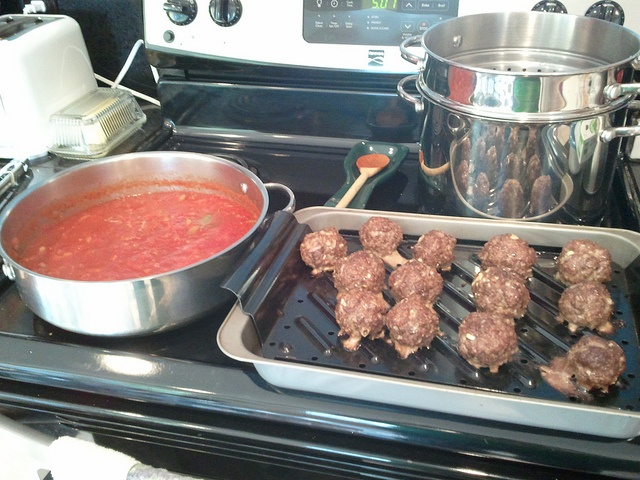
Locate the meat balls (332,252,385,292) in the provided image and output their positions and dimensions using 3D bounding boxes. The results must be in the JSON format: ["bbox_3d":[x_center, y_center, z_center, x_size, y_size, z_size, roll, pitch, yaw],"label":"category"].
[{"bbox_3d":[0.065,0.054,0.903,0.098,0.059,0.110,-1,22,-3],"label":"meat balls"}]

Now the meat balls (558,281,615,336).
[{"bbox_3d":[0.400,0.102,0.793,0.068,0.026,0.079,7,62,14],"label":"meat balls"}]

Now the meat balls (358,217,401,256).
[{"bbox_3d":[0.104,-0.010,0.980,0.069,0.060,0.079,19,17,38],"label":"meat balls"}]

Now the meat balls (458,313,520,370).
[{"bbox_3d":[0.240,0.147,0.768,0.072,0.059,0.075,-2,34,2],"label":"meat balls"}]

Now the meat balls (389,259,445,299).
[{"bbox_3d":[0.151,0.065,0.835,0.068,0.037,0.064,-1,28,1],"label":"meat balls"}]

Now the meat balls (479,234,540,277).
[{"bbox_3d":[0.314,0.025,0.869,0.078,0.045,0.073,-5,51,6],"label":"meat balls"}]

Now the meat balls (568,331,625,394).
[{"bbox_3d":[0.386,0.171,0.741,0.070,0.054,0.070,-2,34,2],"label":"meat balls"}]

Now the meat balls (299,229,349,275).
[{"bbox_3d":[0.005,0.018,0.952,0.099,0.075,0.074,-11,31,-27],"label":"meat balls"}]

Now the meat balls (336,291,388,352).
[{"bbox_3d":[0.060,0.114,0.845,0.107,0.074,0.111,0,22,0],"label":"meat balls"}]

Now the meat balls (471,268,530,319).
[{"bbox_3d":[0.277,0.085,0.817,0.081,0.051,0.090,-5,22,-36],"label":"meat balls"}]

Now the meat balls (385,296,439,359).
[{"bbox_3d":[0.130,0.121,0.775,0.077,0.033,0.083,-6,50,7],"label":"meat balls"}]

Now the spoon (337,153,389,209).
[{"bbox_3d":[0.096,-0.141,1.133,0.061,0.017,0.205,7,37,29],"label":"spoon"}]
